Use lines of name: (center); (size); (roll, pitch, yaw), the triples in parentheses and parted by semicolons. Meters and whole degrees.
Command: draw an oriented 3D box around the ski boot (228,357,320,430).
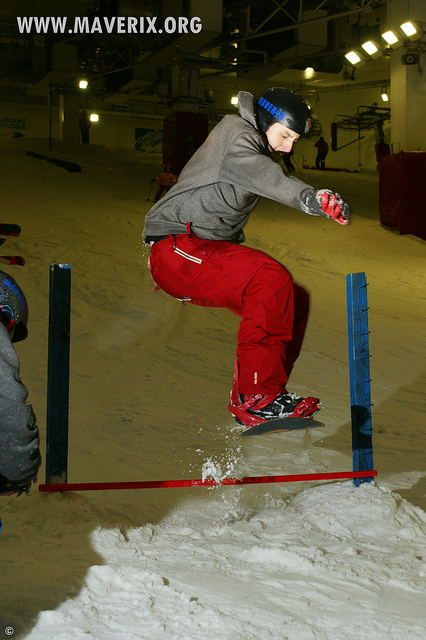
ski boot: (0.264, 0.315, 2.471); (0.430, 0.322, 0.161); (0, 25, -8)

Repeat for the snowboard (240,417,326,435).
snowboard: (0.287, 0.462, 2.401); (0.343, 0.095, 0.168); (5, -2, -25)

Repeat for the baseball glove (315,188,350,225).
baseball glove: (0.443, -0.421, 2.024); (0.124, 0.153, 0.221); (5, -2, 13)

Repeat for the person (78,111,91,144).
person: (-5.717, -8.620, 24.572); (0.478, 1.321, 0.991); (6, -3, -16)
